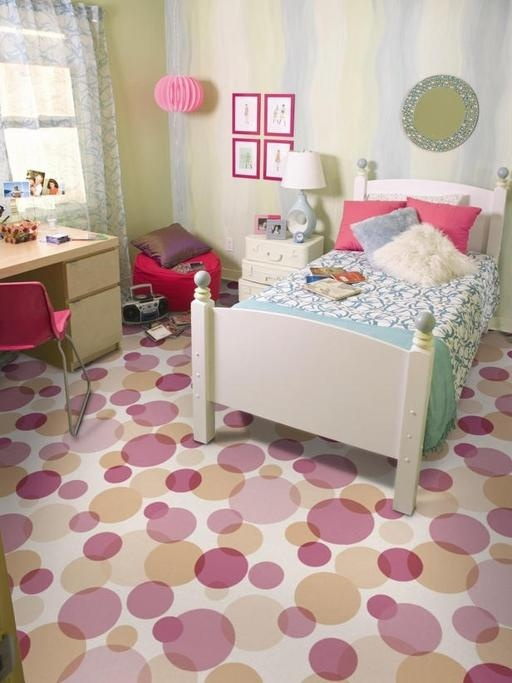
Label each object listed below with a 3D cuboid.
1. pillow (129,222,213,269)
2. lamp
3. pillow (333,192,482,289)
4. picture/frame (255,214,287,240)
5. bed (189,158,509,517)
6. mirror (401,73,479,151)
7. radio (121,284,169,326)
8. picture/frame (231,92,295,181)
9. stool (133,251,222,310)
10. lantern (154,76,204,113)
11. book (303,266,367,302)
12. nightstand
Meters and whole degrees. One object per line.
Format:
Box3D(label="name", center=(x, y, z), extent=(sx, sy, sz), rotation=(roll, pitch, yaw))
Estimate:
Box3D(label="pillow", center=(-0.678, -0.733, 4.218), extent=(0.487, 0.246, 0.621), rotation=(20, 28, 40))
Box3D(label="lamp", center=(0.342, -1.048, 3.845), extent=(0.295, 0.631, 0.321), rotation=(7, 21, 16))
Box3D(label="pillow", center=(0.849, -0.599, 3.131), extent=(1.062, 0.483, 0.580), rotation=(13, 25, 30))
Box3D(label="picture/frame", center=(0.118, -0.833, 4.001), extent=(0.287, 0.183, 0.074), rotation=(7, 8, 34))
Box3D(label="bed", center=(0.461, -0.094, 2.513), extent=(0.797, 0.755, 1.377), rotation=(11, 28, 25))
Box3D(label="mirror", center=(1.145, -1.412, 3.399), extent=(0.468, 0.444, 0.032), rotation=(16, 29, 28))
Box3D(label="radio", center=(-0.789, -0.269, 3.821), extent=(0.336, 0.254, 0.182), rotation=(-14, 31, -25))
Box3D(label="picture/frame", center=(0.044, -1.558, 4.137), extent=(0.549, 0.628, 0.033), rotation=(-7, 23, -16))
Box3D(label="stool", center=(-0.561, -0.431, 4.164), extent=(0.564, 0.456, 0.658), rotation=(9, 6, 27))
Box3D(label="lantern", center=(-0.554, -1.859, 4.207), extent=(0.366, 0.288, 0.375), rotation=(2, 20, 2))
Box3D(label="book", center=(0.406, -0.290, 2.811), extent=(0.262, 0.106, 0.294), rotation=(-14, 24, -33))
Box3D(label="nightstand", center=(0.243, -0.631, 4.138), extent=(0.601, 0.578, 0.484), rotation=(12, 24, 28))
